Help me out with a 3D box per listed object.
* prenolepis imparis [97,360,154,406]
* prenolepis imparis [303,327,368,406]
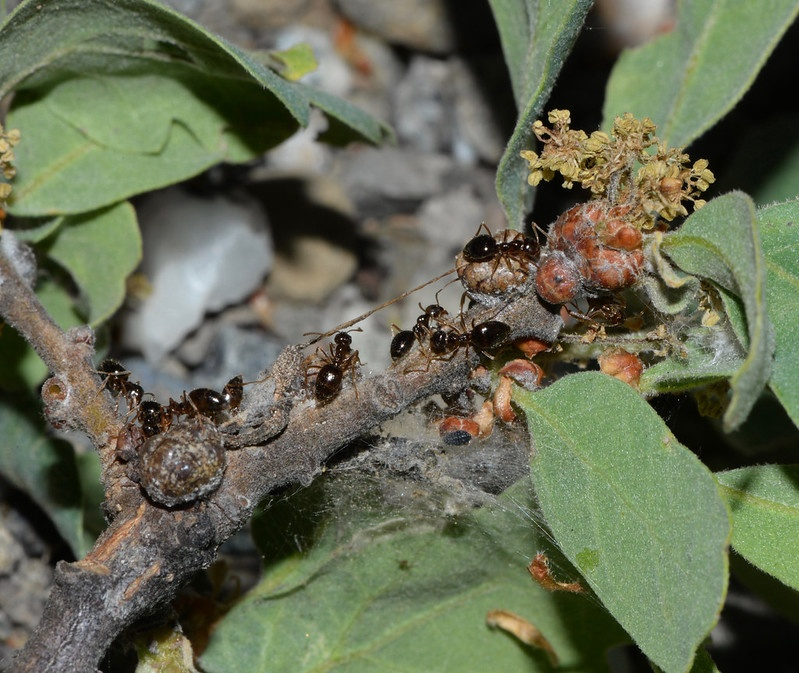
[{"bbox_3d":[-0.668,0.099,1.921,0.045,0.138,0.096,-37,42,9],"label":"prenolepis imparis"},{"bbox_3d":[-0.152,0.058,1.886,0.144,0.057,0.212,15,48,6],"label":"prenolepis imparis"}]
